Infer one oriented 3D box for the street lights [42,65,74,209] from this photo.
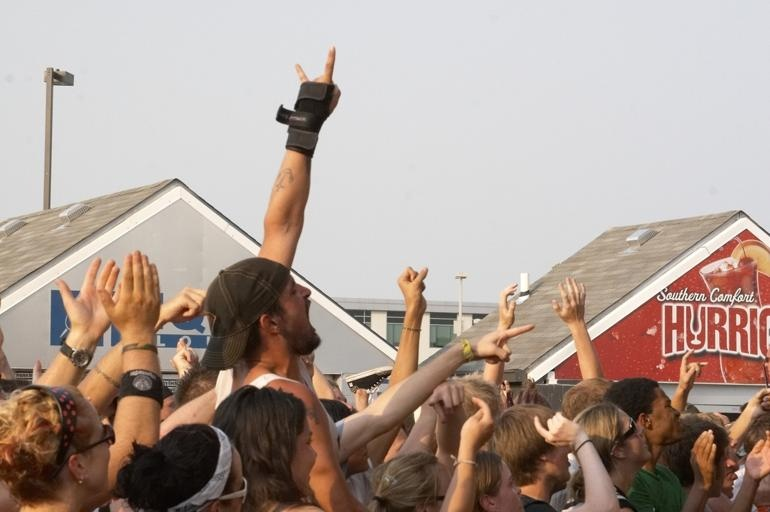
[{"bbox_3d":[-6.186,-2.480,22.241,0.520,2.041,0.281,1,-4,-3],"label":"street lights"}]
